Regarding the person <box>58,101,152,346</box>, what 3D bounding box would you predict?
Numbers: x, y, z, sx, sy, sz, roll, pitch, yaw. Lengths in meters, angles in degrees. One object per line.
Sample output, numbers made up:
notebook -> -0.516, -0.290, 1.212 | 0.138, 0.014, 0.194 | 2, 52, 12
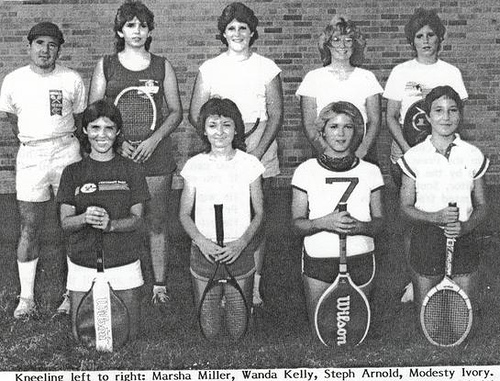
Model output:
person -> -1.232, 0.271, 5.390 | 0.763, 1.983, 0.636 | -6, 21, -9

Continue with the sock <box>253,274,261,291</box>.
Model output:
sock -> 0.055, 0.809, 5.585 | 0.028, 0.109, 0.120 | 8, 0, 13

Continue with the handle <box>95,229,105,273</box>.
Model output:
handle -> -1.279, 0.502, 5.352 | 0.084, 0.369, 0.119 | -5, 20, -8

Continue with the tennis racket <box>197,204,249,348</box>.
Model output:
tennis racket -> -0.230, 0.995, 5.392 | 0.429, 0.733, 0.231 | -2, 20, 1

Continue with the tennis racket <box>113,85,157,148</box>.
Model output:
tennis racket -> -0.996, -0.656, 5.512 | 0.355, 0.512, 0.131 | -6, 21, -10

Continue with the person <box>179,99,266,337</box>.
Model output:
person -> -0.236, 0.456, 5.582 | 0.833, 2.494, 0.819 | 0, 13, 4

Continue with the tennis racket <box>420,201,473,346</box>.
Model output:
tennis racket -> 1.715, 0.922, 5.583 | 0.417, 0.871, 0.347 | -10, 22, -20

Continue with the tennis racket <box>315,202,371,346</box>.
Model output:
tennis racket -> 0.799, 0.914, 5.441 | 0.379, 0.905, 0.323 | -19, 26, -38

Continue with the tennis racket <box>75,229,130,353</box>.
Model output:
tennis racket -> -1.277, 0.882, 5.318 | 0.334, 1.054, 0.344 | 16, 27, 41

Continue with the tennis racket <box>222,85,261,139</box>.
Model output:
tennis racket -> -0.025, -0.708, 5.542 | 0.355, 0.450, 0.112 | -4, 10, -18
